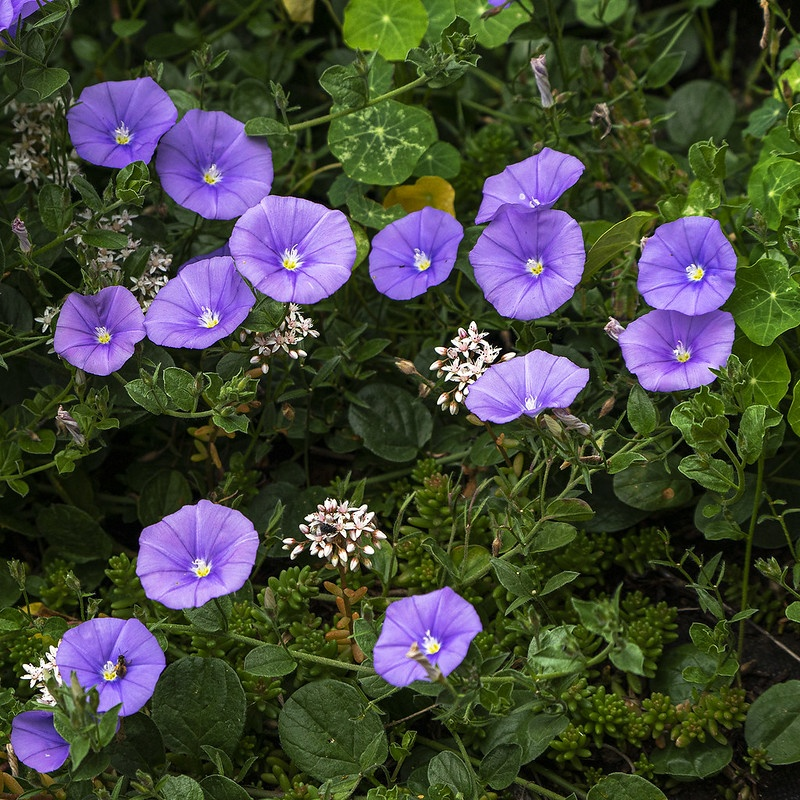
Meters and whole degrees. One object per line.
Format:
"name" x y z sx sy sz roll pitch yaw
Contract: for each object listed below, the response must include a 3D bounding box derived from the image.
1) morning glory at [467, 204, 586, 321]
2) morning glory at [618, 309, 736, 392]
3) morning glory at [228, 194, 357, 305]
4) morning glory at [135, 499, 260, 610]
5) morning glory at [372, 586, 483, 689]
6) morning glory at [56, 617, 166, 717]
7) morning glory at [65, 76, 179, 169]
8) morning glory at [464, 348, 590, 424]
"morning glory" 0.311 -0.341 2.167 0.295 0.286 0.085 -28 63 10
"morning glory" 0.638 -0.128 2.042 0.278 0.263 0.085 17 77 -35
"morning glory" -0.266 -0.342 2.106 0.292 0.278 0.097 -3 63 -27
"morning glory" -0.392 0.340 1.924 0.275 0.092 0.236 12 60 25
"morning glory" 0.059 0.444 1.691 0.204 0.068 0.184 8 25 20
"morning glory" -0.577 0.531 1.793 0.225 0.095 0.182 4 69 6
"morning glory" -0.724 -0.714 2.288 0.293 0.099 0.283 11 69 9
"morning glory" 0.283 -0.005 1.912 0.263 0.218 0.069 -15 50 18
